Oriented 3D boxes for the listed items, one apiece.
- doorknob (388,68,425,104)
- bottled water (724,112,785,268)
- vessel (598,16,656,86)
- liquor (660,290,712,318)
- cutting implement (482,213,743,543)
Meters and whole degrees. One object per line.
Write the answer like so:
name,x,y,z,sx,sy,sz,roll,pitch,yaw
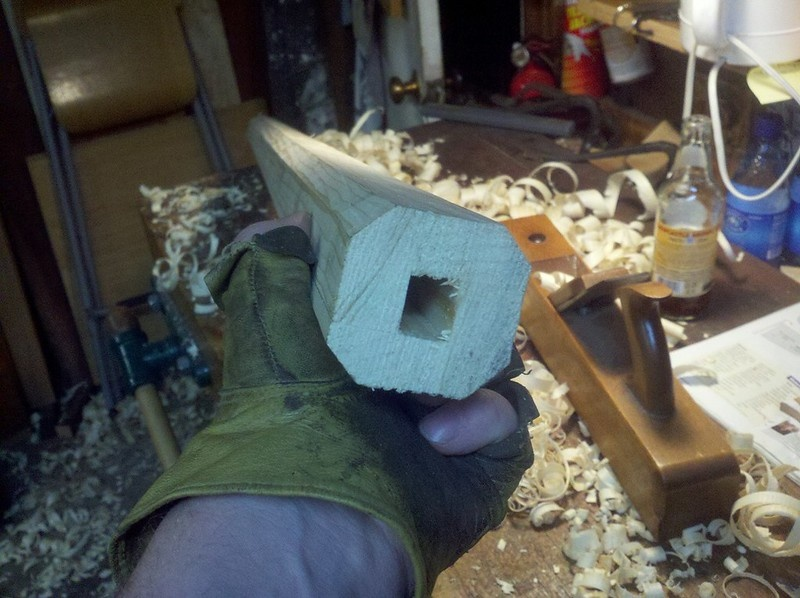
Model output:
doorknob,0.027,-0.737,2.413,0.050,0.133,0.179,-25,37,-27
bottled water,0.821,-0.244,1.545,0.135,0.300,0.196,12,36,28
vessel,0.699,-0.750,2.079,0.154,0.179,0.084,-12,32,-7
liquor,0.582,0.008,1.381,0.047,0.053,0.047,-5,-1,-6
cutting implement,0.267,0.096,1.361,0.186,0.446,0.755,-11,41,-12
